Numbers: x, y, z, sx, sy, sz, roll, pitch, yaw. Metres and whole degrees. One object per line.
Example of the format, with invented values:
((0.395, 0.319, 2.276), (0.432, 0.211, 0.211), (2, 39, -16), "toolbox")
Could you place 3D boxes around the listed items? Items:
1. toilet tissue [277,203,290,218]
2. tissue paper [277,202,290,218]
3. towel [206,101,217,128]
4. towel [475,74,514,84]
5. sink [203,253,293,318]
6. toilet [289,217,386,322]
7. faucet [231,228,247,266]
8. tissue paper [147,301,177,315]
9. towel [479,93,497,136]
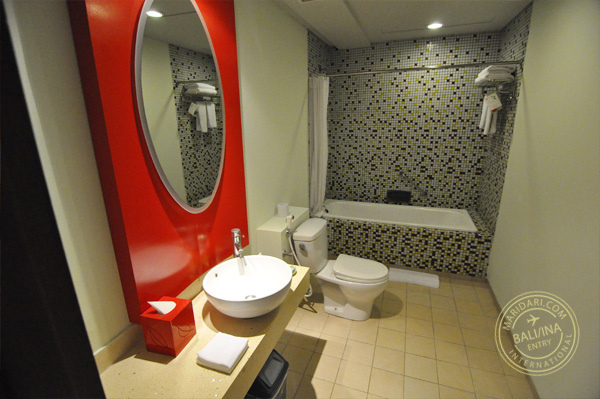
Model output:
((-0.152, 0.101, 3.634), (0.107, 0.103, 0.106), (0, 7, -4), "toilet tissue")
((-0.156, 0.101, 3.634), (0.114, 0.109, 0.112), (-1, 8, -7), "tissue paper")
((-0.596, -0.561, 2.687), (0.070, 0.195, 0.112), (-5, 29, -7), "towel")
((1.808, -1.146, 3.864), (0.198, 0.079, 0.416), (-8, 17, -21), "towel")
((-0.317, 0.547, 2.572), (0.535, 0.242, 0.566), (-2, 16, -1), "sink")
((0.396, 0.694, 3.679), (0.814, 0.776, 0.474), (6, 17, 27), "toilet")
((-0.433, 0.295, 2.829), (0.080, 0.246, 0.296), (-5, 17, -10), "faucet")
((-0.765, 0.591, 2.266), (0.124, 0.059, 0.106), (8, 19, 30), "tissue paper")
((1.863, -0.772, 3.951), (0.107, 0.268, 0.108), (-18, 27, -42), "towel")
